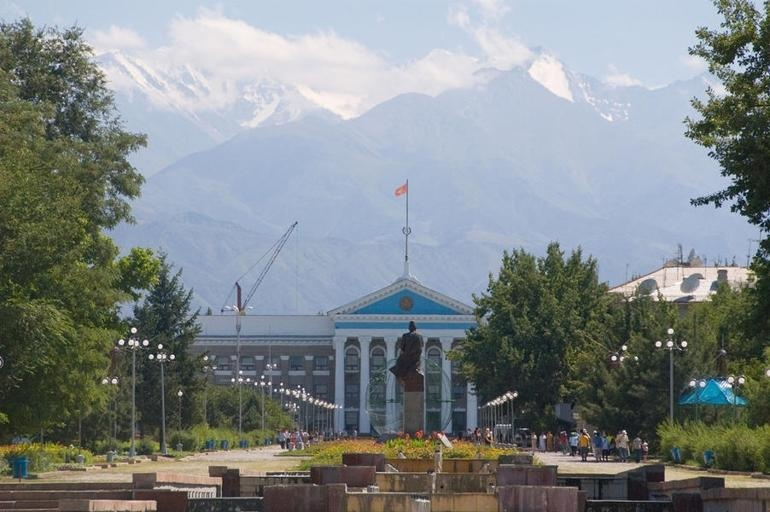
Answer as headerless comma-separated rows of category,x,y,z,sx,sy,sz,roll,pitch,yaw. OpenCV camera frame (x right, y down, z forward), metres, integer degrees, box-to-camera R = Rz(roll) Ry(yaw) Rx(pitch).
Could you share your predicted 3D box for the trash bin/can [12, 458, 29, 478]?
trash bin/can,-22.895,13.643,140.832,0.827,1.545,1.237,4,-12,-15
